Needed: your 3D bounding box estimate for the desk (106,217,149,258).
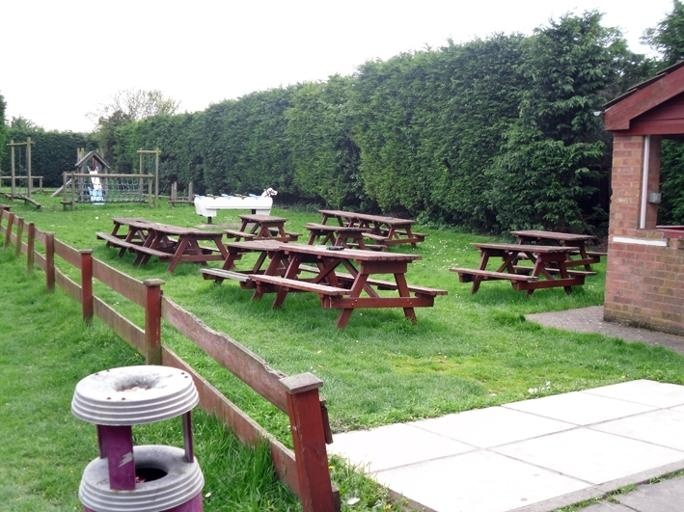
[{"bbox_3d":[-4.914,-0.496,14.556,0.648,0.541,1.433,7,-8,-8],"label":"desk"}]
